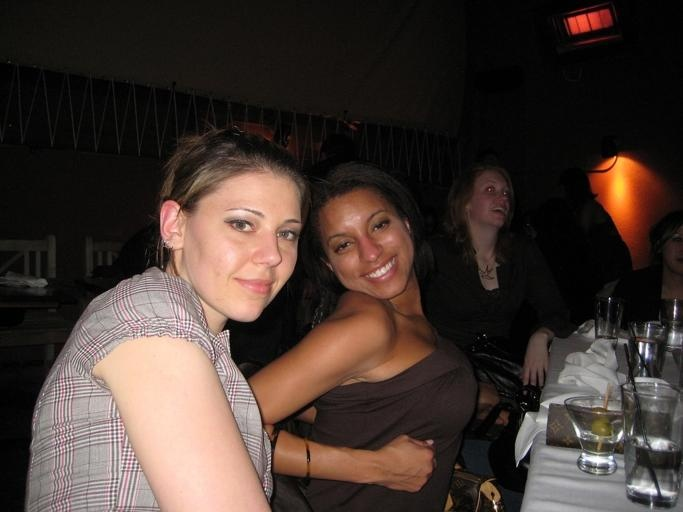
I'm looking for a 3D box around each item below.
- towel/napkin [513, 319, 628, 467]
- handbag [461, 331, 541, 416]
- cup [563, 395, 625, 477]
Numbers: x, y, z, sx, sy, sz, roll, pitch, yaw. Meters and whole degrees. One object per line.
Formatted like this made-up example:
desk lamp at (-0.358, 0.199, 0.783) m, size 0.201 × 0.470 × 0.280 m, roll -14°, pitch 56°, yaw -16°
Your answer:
towel/napkin at (0.899, 0.488, 2.109) m, size 0.401 × 0.155 × 0.649 m, roll -11°, pitch 15°, yaw 23°
handbag at (0.910, 0.647, 3.058) m, size 0.392 × 0.520 × 0.230 m, roll 8°, pitch -2°, yaw 24°
cup at (0.793, 0.563, 1.666) m, size 0.214 × 0.190 × 0.239 m, roll 2°, pitch -11°, yaw 17°
